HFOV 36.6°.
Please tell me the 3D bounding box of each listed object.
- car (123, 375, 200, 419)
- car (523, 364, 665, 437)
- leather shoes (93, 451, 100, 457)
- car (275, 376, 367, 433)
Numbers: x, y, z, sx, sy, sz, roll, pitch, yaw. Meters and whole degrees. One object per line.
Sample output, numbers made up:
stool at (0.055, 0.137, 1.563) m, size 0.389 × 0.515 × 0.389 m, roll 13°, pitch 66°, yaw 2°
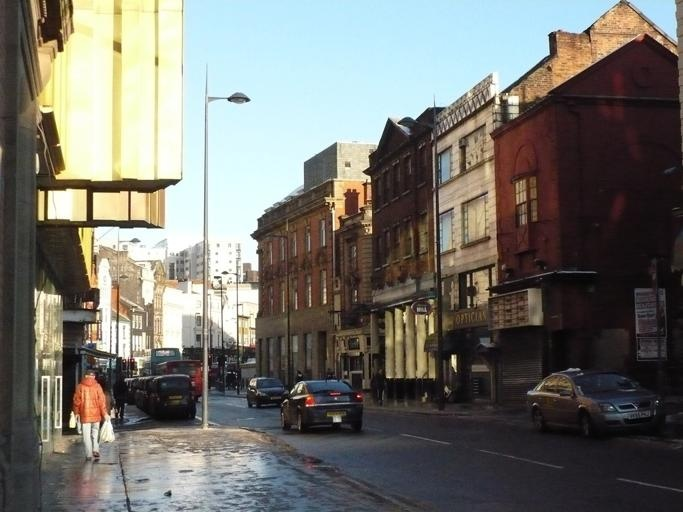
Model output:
car at (-7.611, 6.186, 45.110) m, size 2.106 × 2.199 × 5.079 m, roll 1°, pitch -6°, yaw -24°
car at (7.141, 4.163, 29.710) m, size 2.090 × 1.915 × 5.251 m, roll -4°, pitch -6°, yaw -15°
leather shoes at (-5.883, 4.785, 24.827) m, size 0.116 × 0.146 × 0.146 m, roll -1°, pitch -22°, yaw -3°
car at (-0.756, 4.890, 34.004) m, size 1.947 × 1.675 × 4.839 m, roll 0°, pitch -7°, yaw -16°
